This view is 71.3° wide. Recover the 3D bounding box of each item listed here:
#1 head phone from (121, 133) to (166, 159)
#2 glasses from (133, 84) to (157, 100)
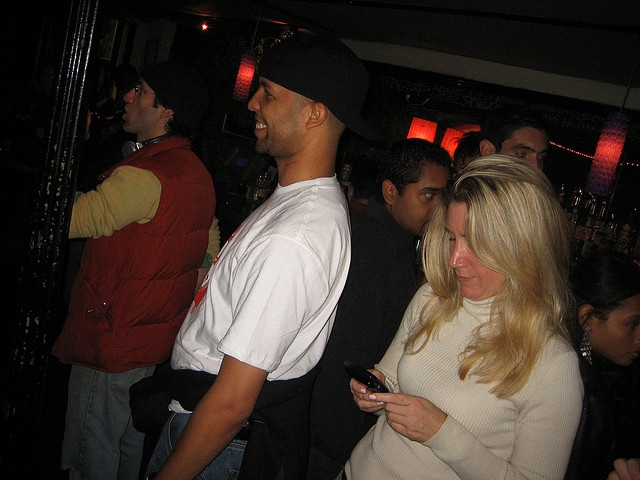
[{"bbox_3d":[-1.033,-0.558,2.543,0.225,0.097,0.191,-30,6,-12],"label":"head phone"},{"bbox_3d":[-0.926,-0.783,2.343,0.096,0.050,0.101,7,-13,17],"label":"glasses"}]
